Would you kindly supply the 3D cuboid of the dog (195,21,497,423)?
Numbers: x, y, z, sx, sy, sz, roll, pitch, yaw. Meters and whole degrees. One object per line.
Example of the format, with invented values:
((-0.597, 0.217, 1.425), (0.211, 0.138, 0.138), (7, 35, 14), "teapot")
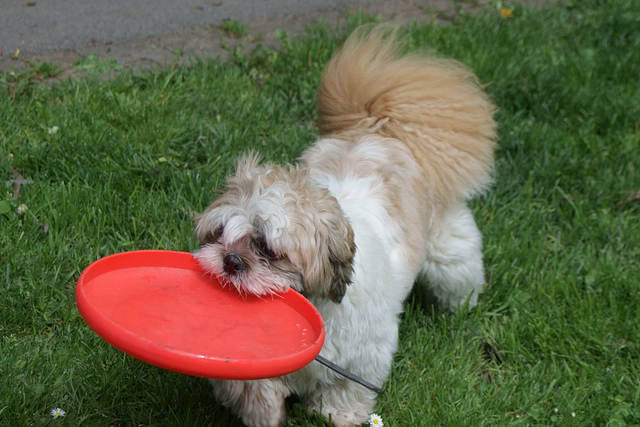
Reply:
((0.253, -0.293, 6.024), (1.739, 2.303, 3.991), (10, 42, 31), "dog")
